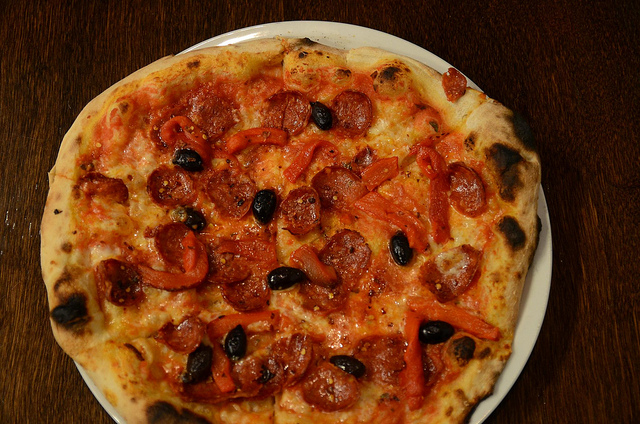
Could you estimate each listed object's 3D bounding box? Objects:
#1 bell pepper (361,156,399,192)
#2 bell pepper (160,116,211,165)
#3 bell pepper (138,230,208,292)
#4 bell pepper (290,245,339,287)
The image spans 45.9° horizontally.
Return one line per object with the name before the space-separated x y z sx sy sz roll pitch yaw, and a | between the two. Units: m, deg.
bell pepper | 0.478 -0.319 6.031 0.320 0.063 0.196 -26 84 4
bell pepper | -1.080 -0.603 6.109 0.290 0.116 0.441 -43 88 -1
bell pepper | -1.126 0.456 5.917 0.534 0.128 0.401 -31 87 -4
bell pepper | -0.033 0.436 5.929 0.432 0.114 0.201 34 85 1
